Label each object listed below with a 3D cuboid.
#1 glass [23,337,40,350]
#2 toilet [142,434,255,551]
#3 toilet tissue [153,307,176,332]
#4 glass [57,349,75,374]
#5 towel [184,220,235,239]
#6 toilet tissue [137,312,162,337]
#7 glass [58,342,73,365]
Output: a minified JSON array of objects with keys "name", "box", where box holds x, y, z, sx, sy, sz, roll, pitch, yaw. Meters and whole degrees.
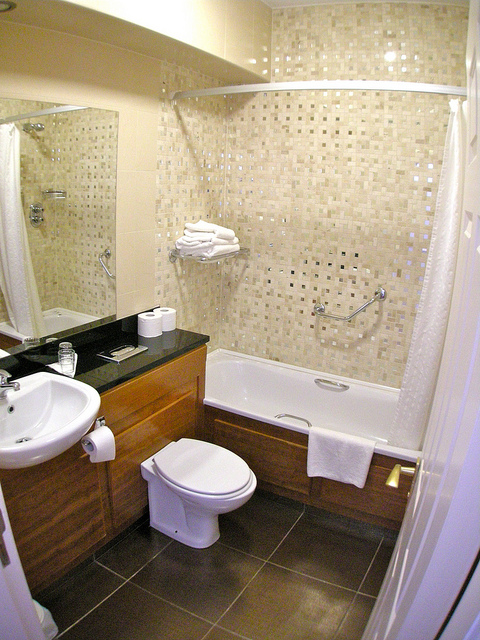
[{"name":"glass","box":[-0.881,0.096,2.053,0.029,0.032,0.042,11,16,21]},{"name":"toilet","box":[-0.210,0.833,2.300,0.475,0.416,0.339,20,25,23]},{"name":"toilet tissue","box":[-0.413,-0.028,2.677,0.103,0.096,0.112,13,21,27]},{"name":"glass","box":[-0.729,0.169,2.045,0.079,0.108,0.073,-9,16,-41]},{"name":"towel","box":[-0.186,-0.518,2.781,0.149,0.067,0.164,11,19,25]},{"name":"toilet tissue","box":[-0.475,0.025,2.597,0.101,0.098,0.118,3,12,2]},{"name":"glass","box":[-0.751,0.128,2.104,0.036,0.074,0.040,5,10,27]}]
